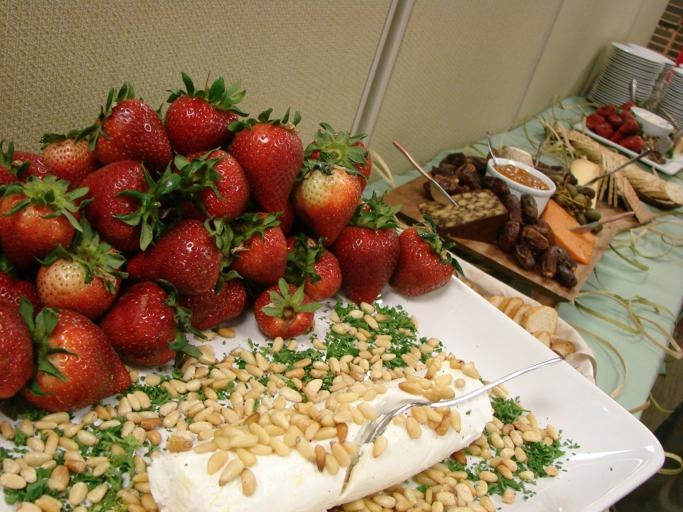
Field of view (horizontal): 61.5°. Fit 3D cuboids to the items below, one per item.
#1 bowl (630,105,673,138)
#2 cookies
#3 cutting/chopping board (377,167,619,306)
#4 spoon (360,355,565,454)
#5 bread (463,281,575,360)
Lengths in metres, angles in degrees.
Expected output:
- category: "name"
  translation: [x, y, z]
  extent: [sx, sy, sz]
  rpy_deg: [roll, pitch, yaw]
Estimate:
- category: "bowl"
  translation: [1.629, -0.693, 2.981]
  extent: [0.207, 0.078, 0.200]
  rpy_deg: [21, 24, -10]
- category: "cookies"
  translation: [1.126, -0.271, 2.281]
  extent: [0.113, 0.093, 0.373]
  rpy_deg: [-21, 47, -1]
- category: "cutting/chopping board"
  translation: [0.587, -0.231, 2.102]
  extent: [1.029, 0.349, 0.797]
  rpy_deg: [14, 22, 33]
- category: "spoon"
  translation: [0.227, 0.290, 1.102]
  extent: [0.624, 0.073, 0.070]
  rpy_deg: [-10, 18, -29]
- category: "bread"
  translation: [0.464, 0.153, 1.444]
  extent: [0.191, 0.071, 0.197]
  rpy_deg: [35, 13, 27]
